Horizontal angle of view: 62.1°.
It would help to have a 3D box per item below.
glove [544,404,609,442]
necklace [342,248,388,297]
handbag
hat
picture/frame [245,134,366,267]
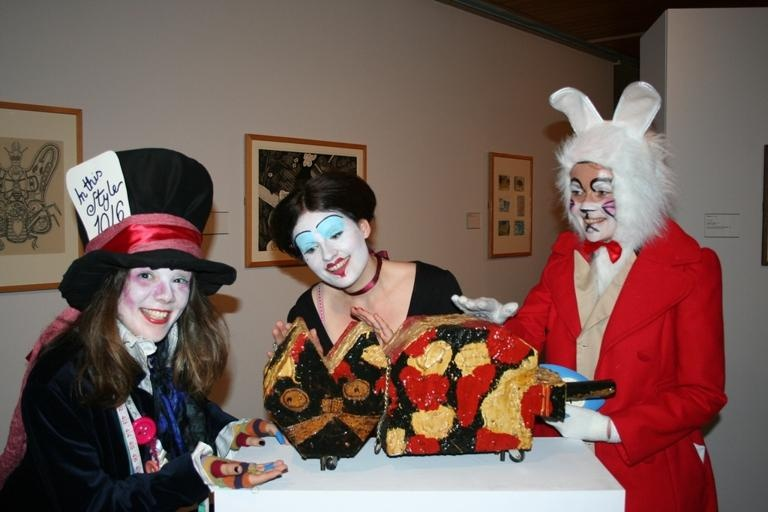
[{"bbox_3d":[0.692,0.592,2.245,0.193,0.066,0.143,10,-11,-22],"label":"glove"},{"bbox_3d":[-0.086,0.070,2.899,0.051,0.159,0.203,20,52,34],"label":"necklace"},{"bbox_3d":[0.280,0.434,2.102,0.726,0.520,0.395,1,-4,-3],"label":"handbag"},{"bbox_3d":[-0.873,-0.143,2.545,0.601,0.442,0.614,-18,-27,12],"label":"hat"},{"bbox_3d":[-0.456,-0.276,3.298,0.860,0.830,0.038,0,0,-36],"label":"picture/frame"}]
